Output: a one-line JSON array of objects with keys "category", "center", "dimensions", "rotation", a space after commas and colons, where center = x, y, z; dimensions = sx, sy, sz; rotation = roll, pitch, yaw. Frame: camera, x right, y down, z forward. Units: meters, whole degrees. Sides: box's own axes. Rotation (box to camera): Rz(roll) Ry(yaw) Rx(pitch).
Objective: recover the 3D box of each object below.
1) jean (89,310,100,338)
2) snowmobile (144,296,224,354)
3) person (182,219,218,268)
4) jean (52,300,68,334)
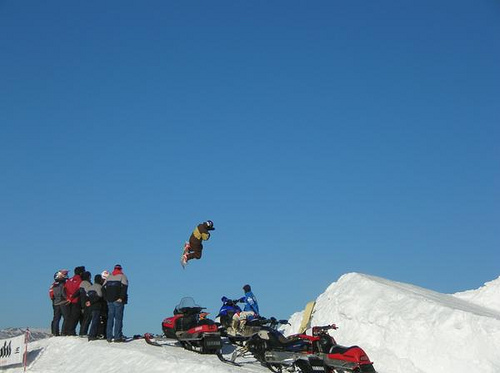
[{"category": "jean", "center": [-6.079, 5.291, 29.331], "dimensions": [0.321, 0.871, 0.534], "rotation": [8, -3, -9]}, {"category": "snowmobile", "center": [-2.190, 5.440, 28.649], "dimensions": [2.670, 1.556, 0.722], "rotation": [4, -4, 31]}, {"category": "person", "center": [-2.369, 2.537, 33.234], "dimensions": [0.683, 1.676, 1.294], "rotation": [10, -4, -34]}, {"category": "jean", "center": [-7.860, 5.348, 30.604], "dimensions": [0.538, 1.203, 0.733], "rotation": [10, -4, -34]}]
